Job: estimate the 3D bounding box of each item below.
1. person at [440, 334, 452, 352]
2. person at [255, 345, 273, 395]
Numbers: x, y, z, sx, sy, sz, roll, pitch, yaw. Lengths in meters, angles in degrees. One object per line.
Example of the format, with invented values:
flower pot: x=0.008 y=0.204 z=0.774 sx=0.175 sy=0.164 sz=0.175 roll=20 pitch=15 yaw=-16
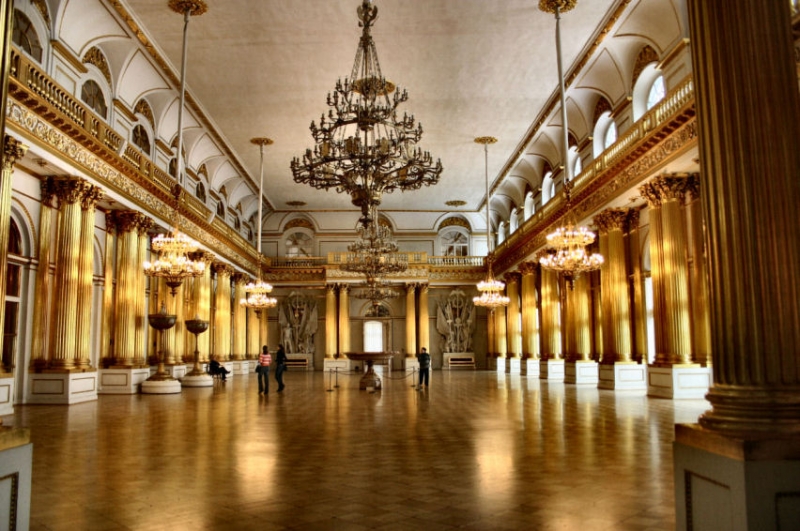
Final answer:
person: x=2.557 y=4.304 z=32.981 sx=0.688 sy=0.939 sz=0.267 roll=-4 pitch=-11 yaw=16
person: x=-3.839 y=2.941 z=16.832 sx=0.366 sy=1.344 sz=1.224 roll=2 pitch=-11 yaw=-12
